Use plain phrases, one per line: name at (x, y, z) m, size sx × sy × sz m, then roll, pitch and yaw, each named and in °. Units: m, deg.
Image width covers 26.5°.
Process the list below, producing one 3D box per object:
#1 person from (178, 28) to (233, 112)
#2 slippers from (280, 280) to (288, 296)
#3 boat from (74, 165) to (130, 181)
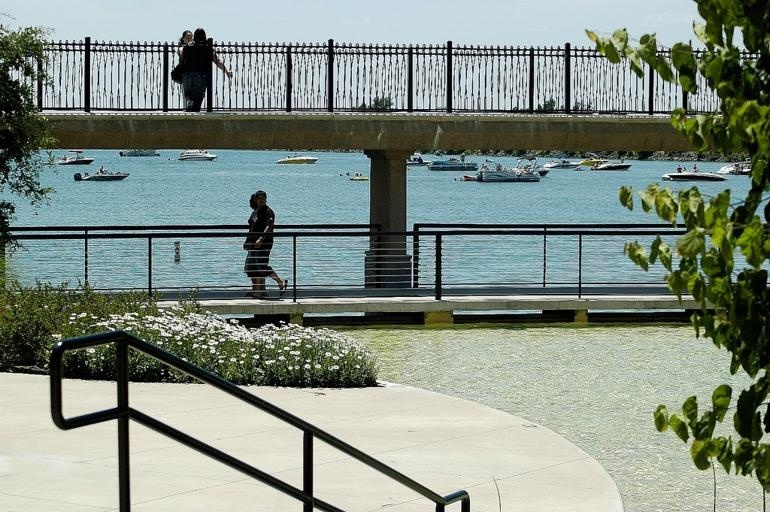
person at (-3.415, -3.354, 30.015) m, size 0.761 × 1.464 × 0.491 m, roll -1°, pitch 5°, yaw 9°
slippers at (-1.701, 0.553, 27.180) m, size 0.145 × 0.263 × 0.178 m, roll 1°, pitch 5°, yaw 1°
boat at (-21.705, -6.061, 124.768) m, size 3.605 × 0.961 × 5.206 m, roll -2°, pitch 5°, yaw -6°
